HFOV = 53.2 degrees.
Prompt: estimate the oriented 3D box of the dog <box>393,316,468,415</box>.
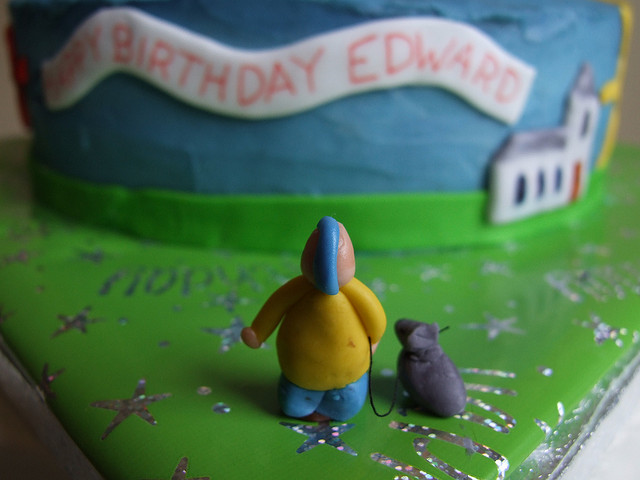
[{"bbox_3d":[0.289,0.351,1.719,0.141,0.099,0.280,-14,53,-10],"label":"dog"}]
